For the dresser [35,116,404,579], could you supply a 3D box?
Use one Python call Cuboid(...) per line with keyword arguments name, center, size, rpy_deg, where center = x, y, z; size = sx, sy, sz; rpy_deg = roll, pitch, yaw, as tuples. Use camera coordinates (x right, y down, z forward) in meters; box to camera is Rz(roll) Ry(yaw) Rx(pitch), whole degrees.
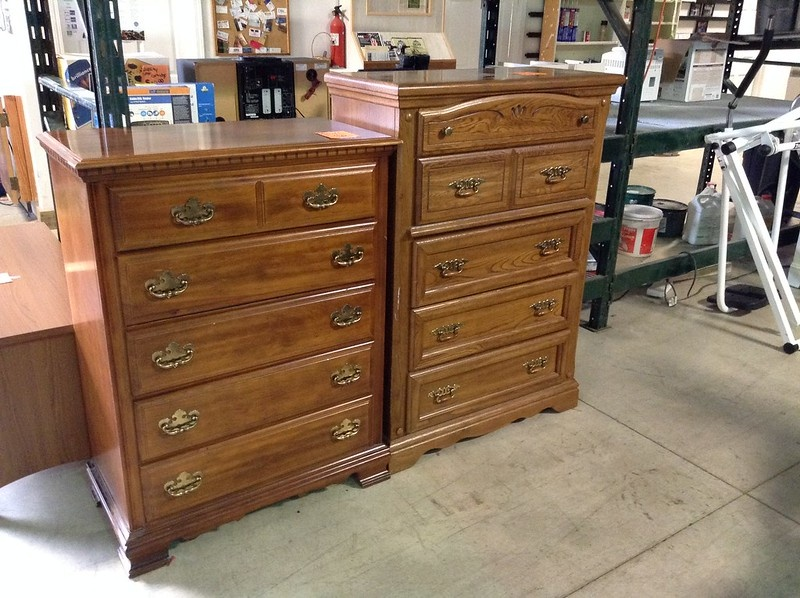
Cuboid(name="dresser", center=(-0.587, 0.124, 2.041), size=(1.211, 1.370, 0.637), rpy_deg=(-17, 33, -27))
